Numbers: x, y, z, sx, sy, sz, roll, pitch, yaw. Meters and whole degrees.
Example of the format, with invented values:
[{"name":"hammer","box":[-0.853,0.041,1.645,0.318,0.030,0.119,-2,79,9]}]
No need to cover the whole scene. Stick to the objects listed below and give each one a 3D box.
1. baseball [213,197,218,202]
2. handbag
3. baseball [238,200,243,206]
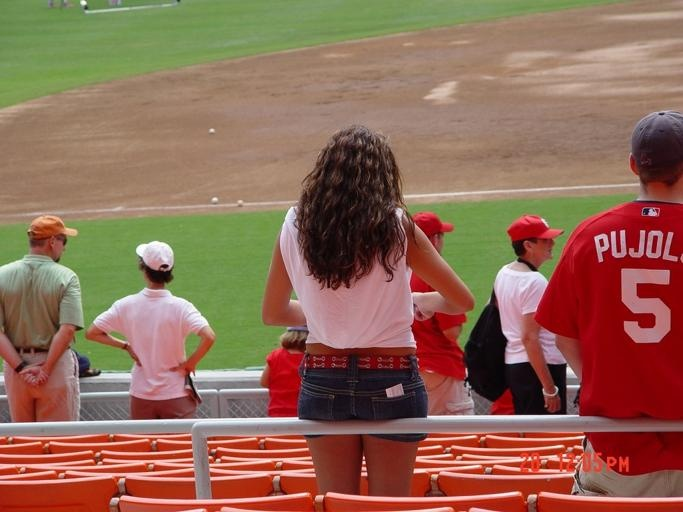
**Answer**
[{"name":"baseball","box":[-3.724,-1.639,54.439,0.128,0.122,0.146,29,-6,-29]},{"name":"handbag","box":[3.004,1.814,37.738,1.202,2.006,1.018,-20,28,-38]},{"name":"baseball","box":[-2.949,-1.533,54.132,0.165,0.150,0.184,-28,10,-5]}]
